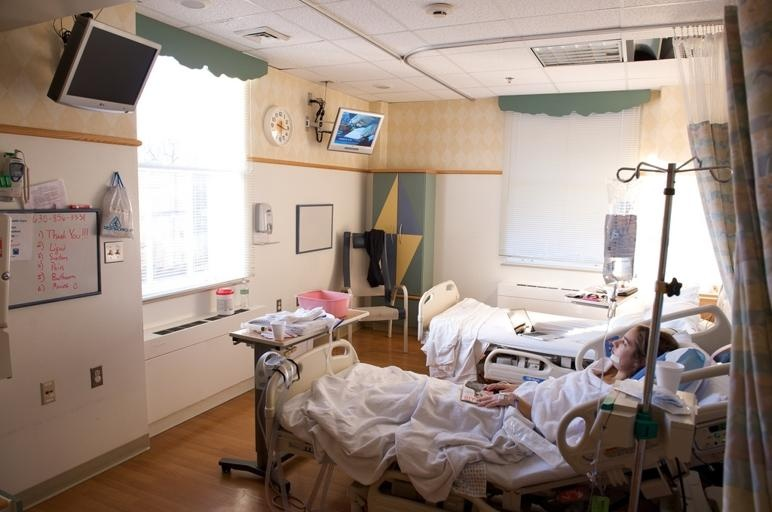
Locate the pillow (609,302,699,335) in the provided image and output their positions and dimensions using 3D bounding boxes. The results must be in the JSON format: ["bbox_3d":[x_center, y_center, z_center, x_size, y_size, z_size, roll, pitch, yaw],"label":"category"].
[{"bbox_3d":[2.178,0.505,4.282,0.473,0.106,0.425,-2,9,28],"label":"pillow"}]

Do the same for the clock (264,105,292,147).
[{"bbox_3d":[-1.064,-1.289,5.172,0.058,0.374,0.393,2,7,26],"label":"clock"}]

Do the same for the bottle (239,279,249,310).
[{"bbox_3d":[-1.300,0.339,4.794,0.092,0.243,0.125,-3,6,-19],"label":"bottle"}]

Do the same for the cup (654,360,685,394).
[{"bbox_3d":[1.465,0.617,2.748,0.159,0.154,0.157,0,-3,0],"label":"cup"}]

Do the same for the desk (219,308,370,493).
[{"bbox_3d":[-0.643,0.994,3.570,0.687,1.040,1.188,2,3,20],"label":"desk"}]

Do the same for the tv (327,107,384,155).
[{"bbox_3d":[-0.376,-1.427,5.925,0.870,0.591,0.087,-1,35,-43],"label":"tv"}]

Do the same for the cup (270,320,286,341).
[{"bbox_3d":[-0.714,0.495,3.563,0.117,0.118,0.111,-1,6,0],"label":"cup"}]

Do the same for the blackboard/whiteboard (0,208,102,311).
[{"bbox_3d":[-2.120,0.007,3.302,0.072,0.510,0.706,3,3,26],"label":"blackboard/whiteboard"}]

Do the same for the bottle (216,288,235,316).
[{"bbox_3d":[-1.354,0.377,4.559,0.205,0.295,0.216,-1,5,0],"label":"bottle"}]

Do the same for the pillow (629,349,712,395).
[{"bbox_3d":[1.858,0.649,3.436,0.426,0.318,0.446,-5,-2,19],"label":"pillow"}]

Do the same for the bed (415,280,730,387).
[{"bbox_3d":[1.434,0.704,4.567,1.848,0.736,1.184,5,12,28],"label":"bed"}]

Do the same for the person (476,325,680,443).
[{"bbox_3d":[1.242,0.797,3.409,1.270,0.583,0.663,-14,14,-6],"label":"person"}]

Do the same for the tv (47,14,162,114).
[{"bbox_3d":[-1.798,-1.230,3.371,0.383,0.552,0.554,3,7,38],"label":"tv"}]

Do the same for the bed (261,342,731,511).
[{"bbox_3d":[0.536,0.939,3.197,2.169,0.794,1.191,2,6,20],"label":"bed"}]

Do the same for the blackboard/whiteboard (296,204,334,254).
[{"bbox_3d":[-0.804,-0.315,5.774,0.038,0.379,0.580,2,5,26],"label":"blackboard/whiteboard"}]

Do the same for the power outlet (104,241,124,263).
[{"bbox_3d":[-1.897,-0.040,3.658,0.021,0.150,0.158,2,3,32],"label":"power outlet"}]
